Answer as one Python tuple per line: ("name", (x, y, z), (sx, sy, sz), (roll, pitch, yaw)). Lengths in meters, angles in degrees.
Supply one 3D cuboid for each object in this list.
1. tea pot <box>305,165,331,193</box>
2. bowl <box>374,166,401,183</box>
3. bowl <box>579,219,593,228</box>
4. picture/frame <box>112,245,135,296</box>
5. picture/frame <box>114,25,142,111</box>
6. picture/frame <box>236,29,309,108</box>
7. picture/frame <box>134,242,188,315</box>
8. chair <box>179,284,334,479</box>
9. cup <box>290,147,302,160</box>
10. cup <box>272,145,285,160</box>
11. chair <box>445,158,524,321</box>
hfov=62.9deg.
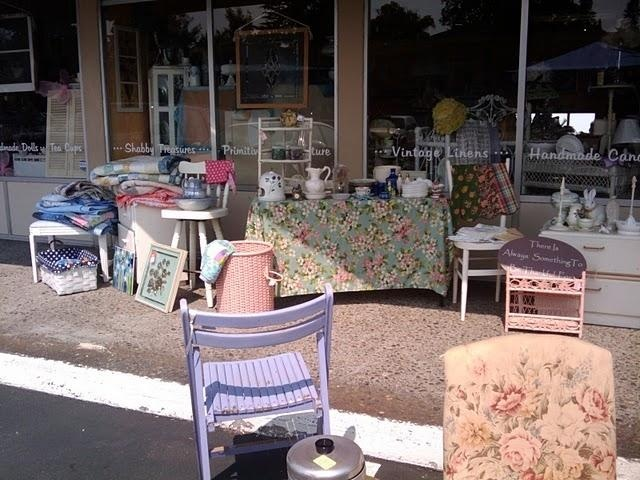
("tea pot", (-0.041, -0.547, 4.875), (0.207, 0.237, 0.252), (1, 9, -4))
("bowl", (0.616, -0.654, 5.144), (0.197, 0.112, 0.181), (0, 4, 0))
("bowl", (2.231, -0.132, 4.397), (0.086, 0.060, 0.085), (-1, 3, 0))
("picture/frame", (-2.000, 0.330, 5.359), (0.053, 0.463, 0.474), (-7, 9, -42))
("picture/frame", (-2.426, -2.147, 6.637), (0.395, 1.031, 0.042), (5, 10, 22))
("picture/frame", (-0.512, -1.960, 5.948), (0.924, 0.865, 0.045), (2, 10, 17))
("picture/frame", (-1.502, 0.364, 4.887), (0.549, 0.517, 0.060), (21, 6, 42))
("chair", (-0.309, 0.671, 2.545), (0.689, 0.962, 0.515), (-1, 9, -14))
("cup", (-0.239, -0.867, 5.310), (0.123, 0.104, 0.121), (2, 15, -1))
("cup", (-0.433, -0.880, 5.398), (0.136, 0.110, 0.134), (1, 10, 0))
("chair", (1.504, -0.037, 4.957), (0.663, 1.357, 1.246), (4, 9, 16))
